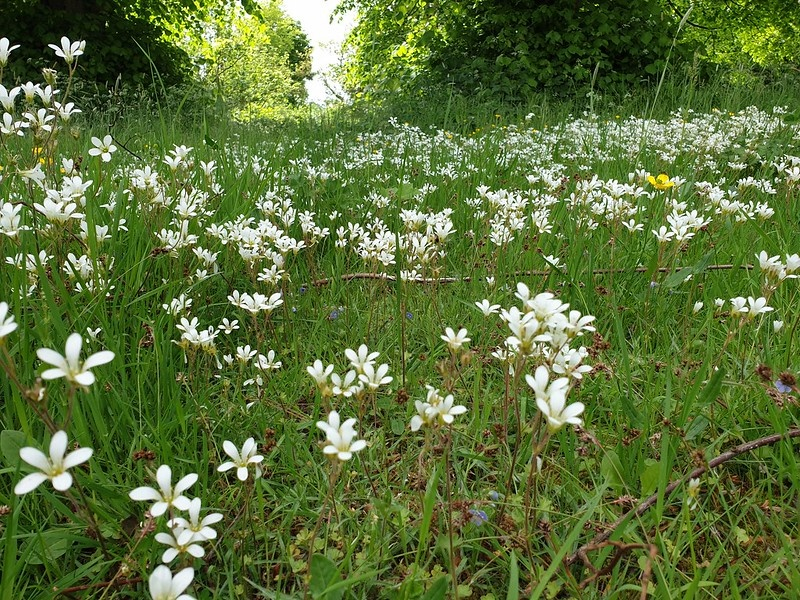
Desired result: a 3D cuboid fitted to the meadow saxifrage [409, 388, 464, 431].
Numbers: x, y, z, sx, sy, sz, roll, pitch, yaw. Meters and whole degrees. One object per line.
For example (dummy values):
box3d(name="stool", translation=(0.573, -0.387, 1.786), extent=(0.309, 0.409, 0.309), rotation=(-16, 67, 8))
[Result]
box3d(name="meadow saxifrage", translation=(0.138, 0.461, 2.663), extent=(0.192, 0.105, 0.230), rotation=(-7, 35, -3))

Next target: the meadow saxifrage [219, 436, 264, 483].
box3d(name="meadow saxifrage", translation=(-0.622, 0.651, 2.680), extent=(0.161, 0.082, 0.214), rotation=(-6, 17, 37))

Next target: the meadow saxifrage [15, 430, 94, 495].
box3d(name="meadow saxifrage", translation=(-1.215, 0.588, 2.401), extent=(0.271, 0.264, 0.112), rotation=(-15, 58, -32))

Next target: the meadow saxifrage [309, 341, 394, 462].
box3d(name="meadow saxifrage", translation=(-0.215, 0.490, 3.081), extent=(0.292, 0.473, 0.271), rotation=(-2, 52, -16))

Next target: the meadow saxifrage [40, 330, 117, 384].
box3d(name="meadow saxifrage", translation=(-1.320, 0.241, 2.744), extent=(0.178, 0.075, 0.207), rotation=(35, 50, -3))
